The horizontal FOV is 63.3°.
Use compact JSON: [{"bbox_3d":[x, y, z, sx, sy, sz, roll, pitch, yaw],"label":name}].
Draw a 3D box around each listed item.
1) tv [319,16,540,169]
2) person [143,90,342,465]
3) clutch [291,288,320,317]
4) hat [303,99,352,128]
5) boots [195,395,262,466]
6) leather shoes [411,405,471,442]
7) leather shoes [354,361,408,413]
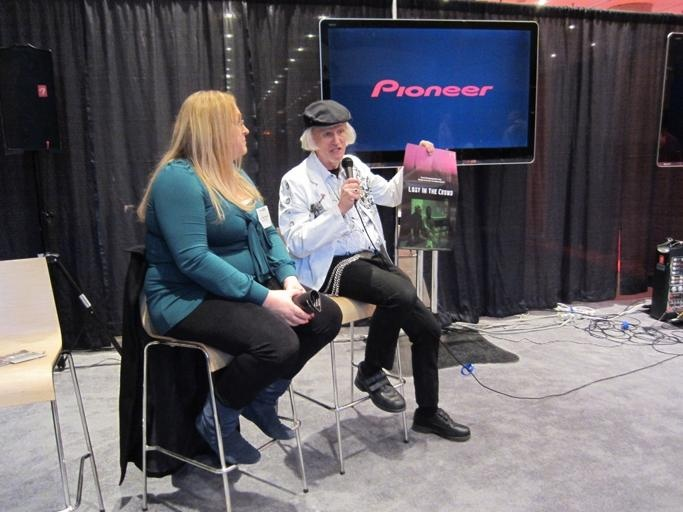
[{"bbox_3d":[0.574,-1.178,3.916,1.384,0.873,0.020,0,5,-13],"label":"tv"},{"bbox_3d":[-0.499,0.073,2.519,0.747,1.630,0.555,6,14,29],"label":"person"},{"bbox_3d":[-0.161,0.208,2.422,0.058,0.074,0.098,-25,-11,-19],"label":"clutch"},{"bbox_3d":[-0.098,-0.783,3.026,0.167,0.088,0.206,-10,25,-14],"label":"hat"},{"bbox_3d":[-0.506,0.779,2.448,0.236,0.407,0.178,-6,13,-24],"label":"boots"},{"bbox_3d":[0.536,0.922,3.078,0.334,0.148,0.134,1,4,20],"label":"leather shoes"},{"bbox_3d":[0.202,0.701,2.947,0.133,0.279,0.305,-11,15,-40],"label":"leather shoes"}]
